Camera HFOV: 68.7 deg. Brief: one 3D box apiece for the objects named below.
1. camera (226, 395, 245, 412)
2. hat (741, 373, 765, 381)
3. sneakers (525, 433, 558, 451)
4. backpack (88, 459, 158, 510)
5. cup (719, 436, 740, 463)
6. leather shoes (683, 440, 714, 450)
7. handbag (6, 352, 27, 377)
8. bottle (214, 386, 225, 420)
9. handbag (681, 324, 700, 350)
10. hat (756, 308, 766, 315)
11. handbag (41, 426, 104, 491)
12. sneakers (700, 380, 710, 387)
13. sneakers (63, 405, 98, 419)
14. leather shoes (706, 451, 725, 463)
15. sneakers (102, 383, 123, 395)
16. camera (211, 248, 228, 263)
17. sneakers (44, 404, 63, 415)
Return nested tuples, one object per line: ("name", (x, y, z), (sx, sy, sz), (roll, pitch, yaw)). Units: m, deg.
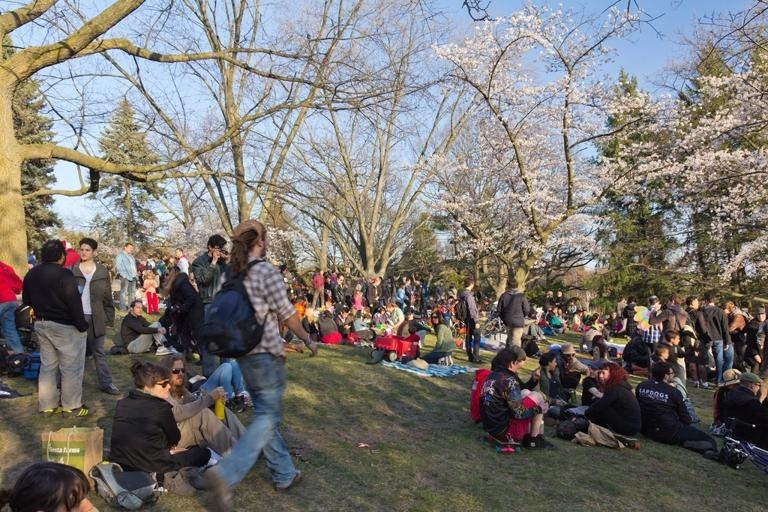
("camera", (-2.634, 2.642, 10.117), (0.221, 0.285, 0.291), (10, -1, 7))
("hat", (6.873, 2.289, 10.625), (0.291, 0.087, 0.292), (-1, 0, -9))
("sneakers", (2.768, 3.345, 10.120), (0.580, 0.266, 0.228), (1, -4, -7))
("backpack", (-3.525, 3.050, 7.595), (0.711, 0.313, 0.557), (28, 16, 24))
("cup", (6.094, 3.476, 10.060), (0.280, 0.360, 0.387), (14, 0, -3))
("leather shoes", (5.780, 3.508, 10.405), (0.293, 0.107, 0.236), (5, -7, -13))
("handbag", (-6.919, 2.029, 10.588), (0.369, 0.365, 0.258), (-17, 36, -35))
("bottle", (-2.500, 2.253, 8.553), (0.161, 0.578, 0.251), (4, 8, -16))
("handbag", (7.894, 2.107, 14.609), (0.434, 0.784, 0.635), (-2, 5, 14))
("hat", (10.230, 1.497, 15.376), (0.306, 0.163, 0.311), (1, 2, 32))
("handbag", (-4.256, 2.709, 7.680), (0.736, 0.703, 0.284), (6, 8, 1))
("sneakers", (8.439, 3.354, 14.841), (0.121, 0.148, 0.369), (-1, -1, 35))
("sneakers", (-5.019, 2.572, 9.310), (0.465, 0.201, 0.154), (3, 3, -20))
("leather shoes", (5.968, 3.624, 10.180), (0.174, 0.129, 0.276), (1, -7, 31))
("sneakers", (-4.938, 2.396, 10.201), (0.347, 0.153, 0.161), (2, 4, 13))
("camera", (-3.196, -0.026, 10.951), (0.296, 0.123, 0.298), (4, 2, -21))
("sneakers", (-5.432, 2.541, 9.279), (0.299, 0.136, 0.109), (11, -15, -6))
